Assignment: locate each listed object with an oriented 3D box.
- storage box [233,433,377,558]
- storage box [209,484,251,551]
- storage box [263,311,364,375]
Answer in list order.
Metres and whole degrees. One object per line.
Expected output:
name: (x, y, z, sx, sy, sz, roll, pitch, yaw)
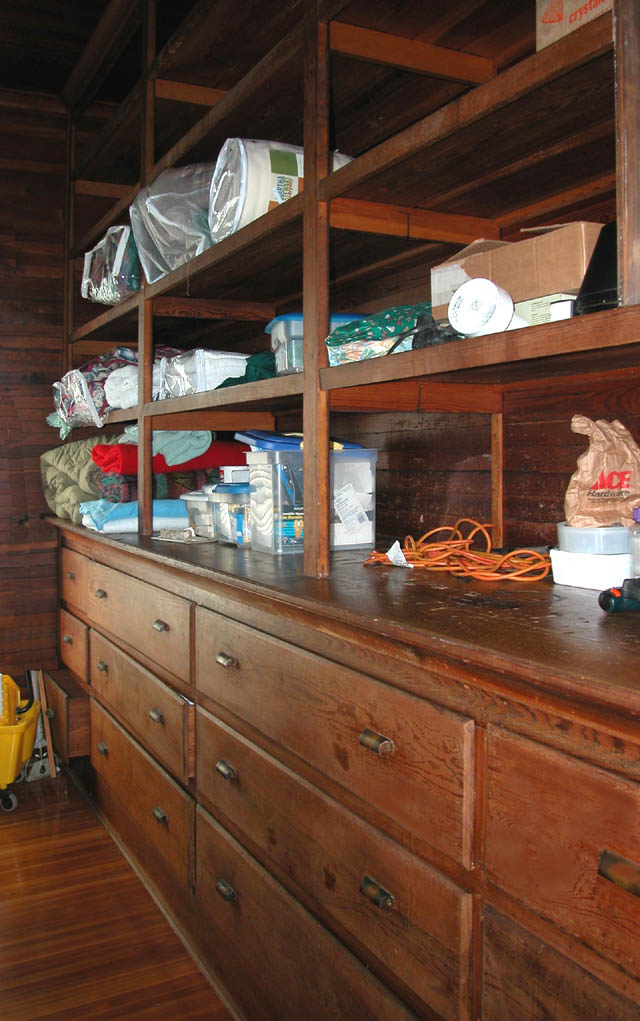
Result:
storage box: (-0.042, -0.043, 1.685, 0.323, 0.315, 0.241, -1, 3, -27)
storage box: (-0.236, 0.017, 1.990, 0.101, 0.145, 0.156, -4, 6, -34)
storage box: (-0.035, -0.351, 1.640, 0.144, 0.098, 0.187, -2, 9, -6)
